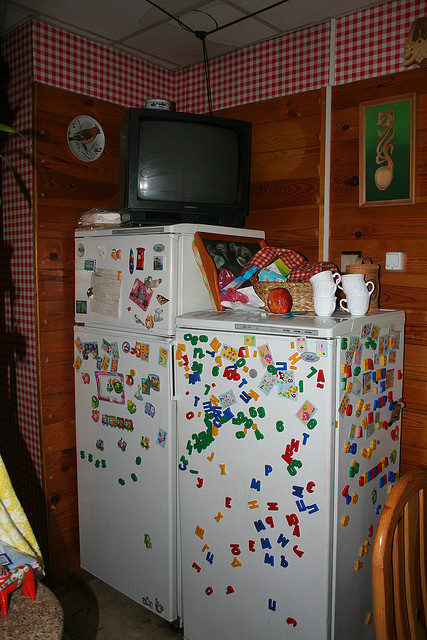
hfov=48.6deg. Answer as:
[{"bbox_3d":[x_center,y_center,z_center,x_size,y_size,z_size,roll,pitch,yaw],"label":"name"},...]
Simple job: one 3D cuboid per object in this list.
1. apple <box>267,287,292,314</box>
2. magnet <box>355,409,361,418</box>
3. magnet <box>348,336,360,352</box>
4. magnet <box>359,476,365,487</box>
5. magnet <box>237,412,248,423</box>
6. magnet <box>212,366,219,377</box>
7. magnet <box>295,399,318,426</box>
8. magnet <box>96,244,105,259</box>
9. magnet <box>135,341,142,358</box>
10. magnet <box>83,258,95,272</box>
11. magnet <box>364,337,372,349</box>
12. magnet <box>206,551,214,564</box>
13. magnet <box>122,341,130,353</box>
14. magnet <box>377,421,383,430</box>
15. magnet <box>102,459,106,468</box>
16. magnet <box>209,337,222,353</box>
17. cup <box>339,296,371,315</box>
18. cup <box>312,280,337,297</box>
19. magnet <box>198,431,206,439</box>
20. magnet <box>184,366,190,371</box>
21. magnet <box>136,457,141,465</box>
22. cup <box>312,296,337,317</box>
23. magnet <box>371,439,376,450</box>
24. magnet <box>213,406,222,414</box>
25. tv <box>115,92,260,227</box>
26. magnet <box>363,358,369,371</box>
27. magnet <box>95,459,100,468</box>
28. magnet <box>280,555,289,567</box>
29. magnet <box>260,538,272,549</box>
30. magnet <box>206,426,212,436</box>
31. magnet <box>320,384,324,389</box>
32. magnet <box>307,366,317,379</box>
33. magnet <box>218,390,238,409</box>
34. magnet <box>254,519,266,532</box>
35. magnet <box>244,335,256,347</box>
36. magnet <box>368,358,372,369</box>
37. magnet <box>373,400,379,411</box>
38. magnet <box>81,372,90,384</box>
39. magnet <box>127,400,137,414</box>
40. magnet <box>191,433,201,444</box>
[{"bbox_3d":[0.200,-0.055,1.429,0.073,0.075,0.071,-5,18,-13],"label":"apple"},{"bbox_3d":[0.396,0.254,1.293,0.006,0.022,0.021,10,25,36],"label":"magnet"},{"bbox_3d":[0.369,0.063,1.240,0.029,0.042,0.041,7,-18,26],"label":"magnet"},{"bbox_3d":[0.419,0.454,1.340,0.008,0.028,0.027,5,28,25],"label":"magnet"},{"bbox_3d":[0.080,0.271,1.329,0.007,0.030,0.017,-9,-2,-43],"label":"magnet"},{"bbox_3d":[0.006,0.151,1.390,0.019,0.027,0.006,5,8,29],"label":"magnet"},{"bbox_3d":[0.233,0.230,1.183,0.015,0.055,0.056,1,40,-37],"label":"magnet"},{"bbox_3d":[-0.423,-0.259,1.787,0.010,0.043,0.041,-3,1,-31],"label":"magnet"},{"bbox_3d":[-0.258,0.103,1.629,0.006,0.053,0.034,-3,7,-38],"label":"magnet"},{"bbox_3d":[-0.480,-0.213,1.842,0.008,0.046,0.050,-9,12,-44],"label":"magnet"},{"bbox_3d":[0.437,0.065,1.336,0.010,0.029,0.028,3,11,20],"label":"magnet"},{"bbox_3d":[-0.011,0.736,1.466,0.008,0.030,0.030,7,12,-30],"label":"magnet"},{"bbox_3d":[-0.307,0.101,1.679,0.008,0.033,0.031,2,1,-36],"label":"magnet"},{"bbox_3d":[0.507,0.320,1.443,0.014,0.031,0.010,2,35,-1],"label":"magnet"},{"bbox_3d":[-0.423,0.554,1.832,0.004,0.029,0.017,1,-4,-43],"label":"magnet"},{"bbox_3d":[0.008,0.074,1.383,0.035,0.035,0.010,25,12,38],"label":"magnet"},{"bbox_3d":[0.398,-0.043,1.371,0.056,0.042,0.047,-1,4,18],"label":"cup"},{"bbox_3d":[0.319,-0.090,1.371,0.068,0.050,0.049,4,7,22],"label":"cup"},{"bbox_3d":[-0.034,0.351,1.447,0.005,0.023,0.022,12,-12,-43],"label":"magnet"},{"bbox_3d":[-0.082,0.150,1.473,0.013,0.013,0.003,3,-1,36],"label":"magnet"},{"bbox_3d":[-0.264,0.496,1.670,0.017,0.026,0.006,2,4,18],"label":"magnet"},{"bbox_3d":[0.317,-0.039,1.355,0.047,0.044,0.059,-3,17,-15],"label":"cup"},{"bbox_3d":[0.474,0.369,1.403,0.008,0.027,0.029,3,31,27],"label":"magnet"},{"bbox_3d":[0.010,0.264,1.399,0.021,0.022,0.006,7,5,36],"label":"magnet"},{"bbox_3d":[-0.081,-0.657,1.920,0.357,0.565,0.617,6,8,42],"label":"tv"},{"bbox_3d":[0.424,0.125,1.321,0.007,0.029,0.025,2,3,15],"label":"magnet"},{"bbox_3d":[-0.454,0.563,1.862,0.019,0.028,0.005,11,6,43],"label":"magnet"},{"bbox_3d":[0.188,0.640,1.264,0.025,0.027,0.006,-2,-9,29],"label":"magnet"},{"bbox_3d":[0.145,0.613,1.303,0.007,0.030,0.028,-5,-11,-37],"label":"magnet"},{"bbox_3d":[-0.010,0.332,1.424,0.005,0.022,0.023,10,5,-34],"label":"magnet"},{"bbox_3d":[0.263,0.159,1.147,0.010,0.011,0.003,-5,1,39],"label":"magnet"},{"bbox_3d":[0.242,0.123,1.163,0.005,0.020,0.019,8,-33,-38],"label":"magnet"},{"bbox_3d":[0.044,0.225,1.367,0.063,0.047,0.017,-30,-17,39],"label":"magnet"},{"bbox_3d":[0.128,0.570,1.314,0.030,0.032,0.029,3,-7,-37],"label":"magnet"},{"bbox_3d":[0.100,0.055,1.287,0.004,0.021,0.029,-9,16,-35],"label":"magnet"},{"bbox_3d":[0.443,0.121,1.343,0.005,0.023,0.022,-2,-2,31],"label":"magnet"},{"bbox_3d":[0.482,0.252,1.410,0.026,0.027,0.006,-8,14,-43],"label":"magnet"},{"bbox_3d":[-0.505,0.232,1.879,0.010,0.040,0.037,-5,7,-44],"label":"magnet"},{"bbox_3d":[-0.290,0.308,1.678,0.012,0.044,0.030,0,-24,-46],"label":"magnet"},{"bbox_3d":[-0.055,0.366,1.468,0.007,0.030,0.016,-7,-19,-41],"label":"magnet"}]
